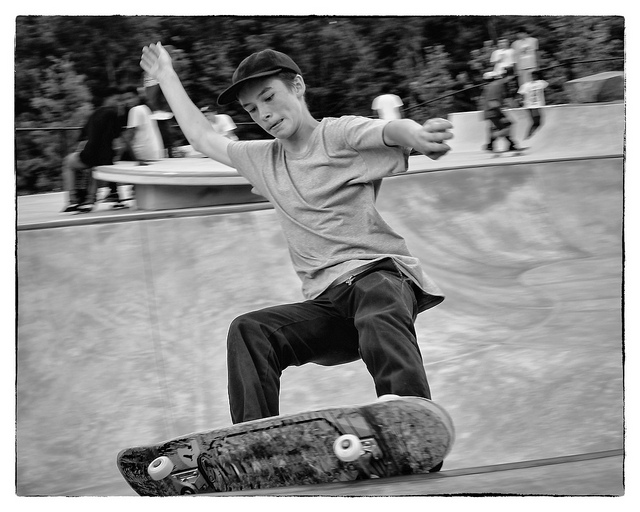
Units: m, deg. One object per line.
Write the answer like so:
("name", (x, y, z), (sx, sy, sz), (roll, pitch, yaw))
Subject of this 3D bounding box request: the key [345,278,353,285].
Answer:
("key", (0.127, 0.117, 3.056), (0.023, 0.007, 0.032), (13, 33, 22))

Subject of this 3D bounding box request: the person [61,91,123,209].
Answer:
("person", (-1.508, -0.708, 4.535), (0.441, 0.727, 0.124), (-8, 16, -13))

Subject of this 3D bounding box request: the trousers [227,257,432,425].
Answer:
("trousers", (0.060, 0.434, 3.226), (0.957, 0.545, 0.855), (-21, 31, 18))

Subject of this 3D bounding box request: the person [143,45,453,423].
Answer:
("person", (-0.130, -0.122, 3.112), (1.539, 1.619, 0.820), (4, 17, 28))

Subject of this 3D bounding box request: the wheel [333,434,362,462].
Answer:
("wheel", (0.106, 0.747, 2.672), (0.167, 0.110, 0.052), (-3, -16, 9))

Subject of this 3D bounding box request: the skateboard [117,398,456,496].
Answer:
("skateboard", (-0.199, 0.828, 2.882), (1.607, 0.277, 0.209), (-17, -14, 28))

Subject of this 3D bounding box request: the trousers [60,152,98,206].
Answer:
("trousers", (-1.613, -0.514, 4.563), (0.244, 0.357, 0.087), (-10, 17, -22))
